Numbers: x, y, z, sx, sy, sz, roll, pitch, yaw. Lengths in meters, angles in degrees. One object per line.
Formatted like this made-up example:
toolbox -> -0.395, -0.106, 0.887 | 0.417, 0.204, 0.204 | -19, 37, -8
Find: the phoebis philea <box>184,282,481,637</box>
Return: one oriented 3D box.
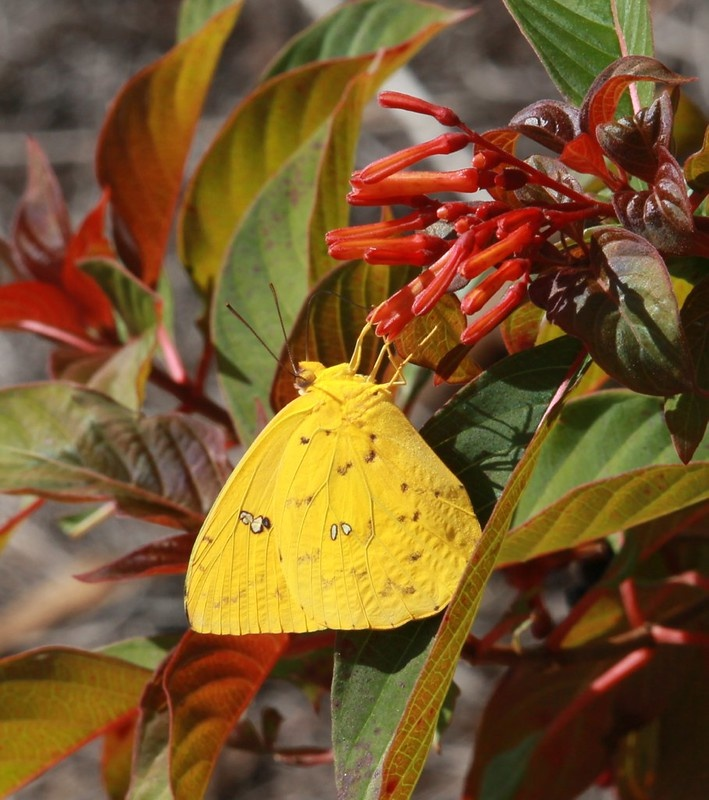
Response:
phoebis philea -> -0.066, 0.162, 1.401 | 0.377, 0.317, 0.397 | -9, 48, -11
